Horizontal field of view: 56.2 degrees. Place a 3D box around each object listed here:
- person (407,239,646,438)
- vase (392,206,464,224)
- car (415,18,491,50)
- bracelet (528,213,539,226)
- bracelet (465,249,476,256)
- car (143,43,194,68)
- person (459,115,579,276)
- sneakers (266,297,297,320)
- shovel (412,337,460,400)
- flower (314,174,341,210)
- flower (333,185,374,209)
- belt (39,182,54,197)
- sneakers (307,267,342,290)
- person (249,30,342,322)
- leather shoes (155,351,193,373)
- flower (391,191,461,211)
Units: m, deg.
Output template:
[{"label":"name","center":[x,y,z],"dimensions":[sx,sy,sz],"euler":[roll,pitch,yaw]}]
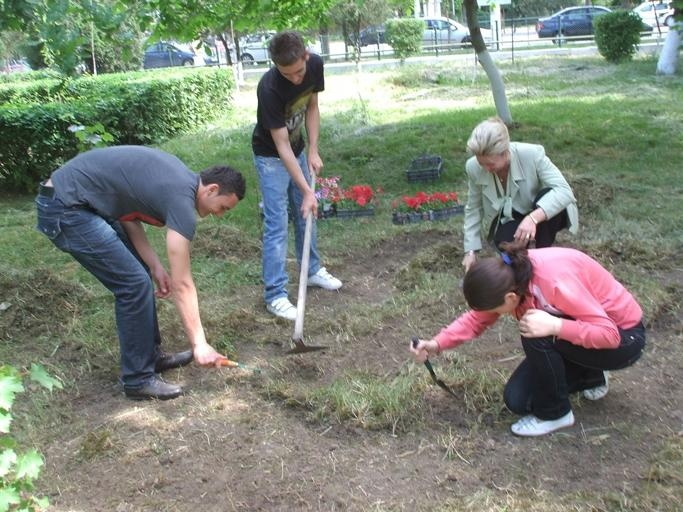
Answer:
[{"label":"person","center":[1.299,0.563,4.404],"dimensions":[1.457,1.412,0.923],"euler":[-6,13,1]},{"label":"vase","center":[1.044,-0.487,7.557],"dimensions":[0.857,0.141,0.174],"euler":[-8,17,-3]},{"label":"car","center":[4.422,-9.127,25.831],"dimensions":[2.501,1.314,5.046],"euler":[0,19,21]},{"label":"bracelet","center":[1.507,-0.293,4.988],"dimensions":[0.070,0.092,0.080],"euler":[0,18,18]},{"label":"bracelet","center":[1.059,-0.029,5.246],"dimensions":[0.052,0.028,0.075],"euler":[8,10,37]},{"label":"car","center":[-6.486,-7.625,24.042],"dimensions":[1.387,0.896,1.858],"euler":[9,23,41]},{"label":"person","center":[1.414,-0.450,5.329],"dimensions":[1.018,1.420,0.984],"euler":[-8,17,3]},{"label":"sneakers","center":[-0.529,0.493,5.821],"dimensions":[0.290,0.136,0.147],"euler":[19,37,30]},{"label":"shovel","center":[0.687,0.840,4.660],"dimensions":[0.051,0.596,0.087],"euler":[-39,22,3]},{"label":"flower","center":[-0.144,-0.833,8.023],"dimensions":[0.368,0.413,0.146],"euler":[0,-11,-17]},{"label":"flower","center":[0.159,-0.734,8.063],"dimensions":[0.383,0.249,0.318],"euler":[-6,16,-1]},{"label":"belt","center":[-2.050,-0.458,4.449],"dimensions":[0.099,0.077,0.104],"euler":[3,5,-3]},{"label":"sneakers","center":[-0.154,0.212,6.360],"dimensions":[0.402,0.205,0.157],"euler":[5,17,15]},{"label":"person","center":[-0.461,-0.747,5.827],"dimensions":[0.720,2.437,1.058],"euler":[-4,17,6]},{"label":"leather shoes","center":[-1.323,0.840,5.061],"dimensions":[0.316,0.146,0.106],"euler":[-15,38,-33]},{"label":"flower","center":[1.036,-0.653,7.691],"dimensions":[0.524,0.181,0.391],"euler":[-6,10,13]}]
